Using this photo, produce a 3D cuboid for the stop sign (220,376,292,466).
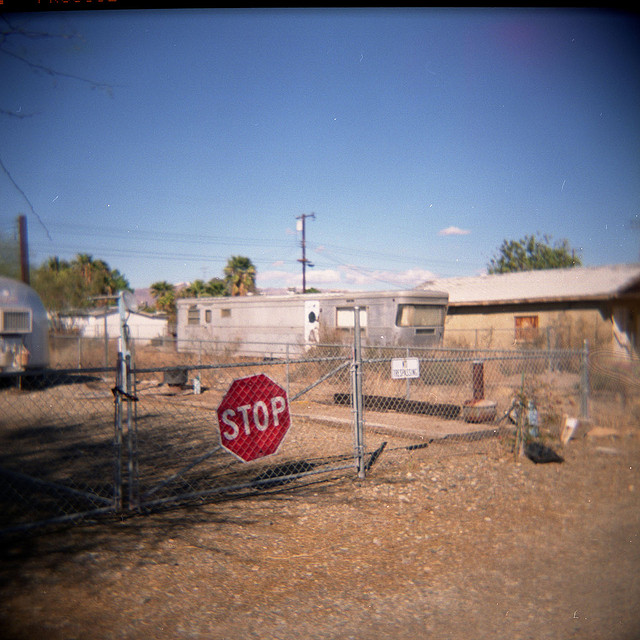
[{"bbox_3d":[-0.663,1.044,6.485,0.019,0.979,0.939,-2,1,30],"label":"stop sign"}]
